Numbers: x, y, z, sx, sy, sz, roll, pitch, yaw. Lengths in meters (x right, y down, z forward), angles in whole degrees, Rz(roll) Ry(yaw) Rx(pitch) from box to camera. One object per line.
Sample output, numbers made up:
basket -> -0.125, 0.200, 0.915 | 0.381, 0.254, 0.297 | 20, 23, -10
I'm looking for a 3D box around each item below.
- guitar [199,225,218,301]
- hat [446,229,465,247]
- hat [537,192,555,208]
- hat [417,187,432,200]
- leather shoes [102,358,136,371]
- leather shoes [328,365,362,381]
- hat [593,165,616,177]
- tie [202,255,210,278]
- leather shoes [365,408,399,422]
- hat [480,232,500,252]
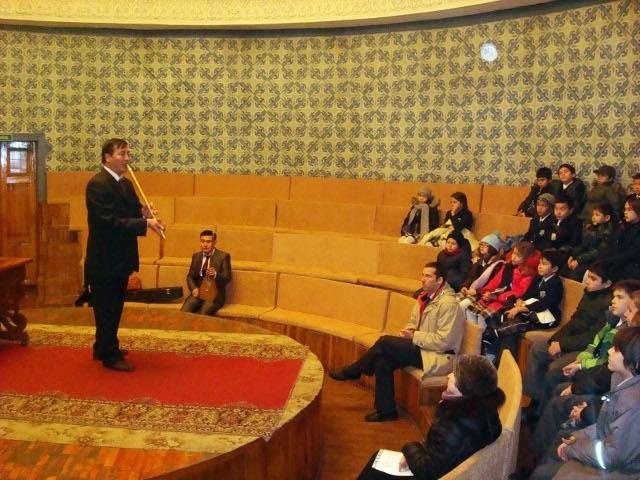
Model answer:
guitar -> -1.360, 0.309, 6.296 | 0.221, 0.809, 0.403 | -2, 14, -13
hat -> 1.536, -0.021, 5.921 | 0.149, 0.153, 0.199 | 3, -26, 48
hat -> 2.575, -0.461, 5.936 | 0.167, 0.135, 0.168 | 8, -2, 11
hat -> 1.458, -0.647, 7.243 | 0.136, 0.139, 0.179 | -4, -8, 40
leather shoes -> -1.486, 0.927, 3.881 | 0.225, 0.097, 0.086 | -1, -2, 15
leather shoes -> 0.241, 1.234, 4.841 | 0.340, 0.137, 0.115 | 0, 1, 21
hat -> 3.458, -0.855, 6.340 | 0.214, 0.097, 0.151 | 18, -2, -6
tie -> -1.367, 0.317, 6.306 | 0.136, 0.248, 0.087 | -1, -9, 42
leather shoes -> 0.540, 1.554, 4.627 | 0.295, 0.127, 0.109 | 4, -4, -6
hat -> 1.902, 0.016, 5.805 | 0.203, 0.155, 0.194 | -1, 13, -41
